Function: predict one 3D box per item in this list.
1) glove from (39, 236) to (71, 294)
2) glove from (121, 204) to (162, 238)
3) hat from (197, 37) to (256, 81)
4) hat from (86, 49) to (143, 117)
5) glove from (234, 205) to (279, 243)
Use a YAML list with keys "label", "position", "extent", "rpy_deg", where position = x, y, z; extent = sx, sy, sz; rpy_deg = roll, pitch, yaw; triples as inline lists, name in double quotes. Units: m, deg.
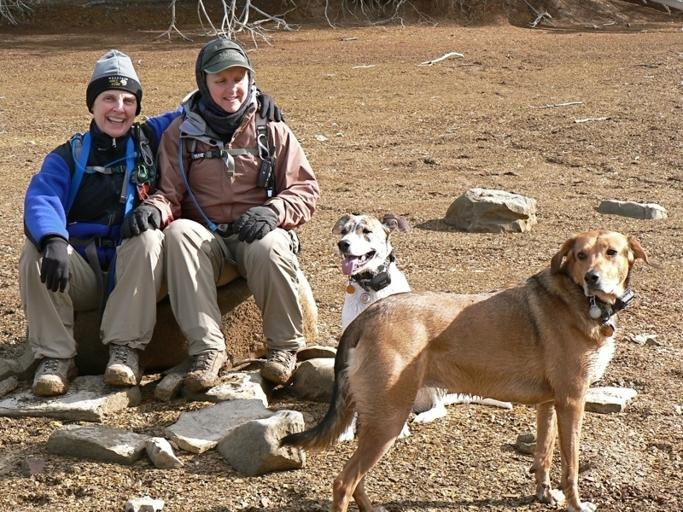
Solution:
- label: "glove"
  position: [-2.627, 0.063, 9.304]
  extent: [0.358, 0.457, 0.140]
  rpy_deg: [1, -3, 0]
- label: "glove"
  position: [-1.869, -0.333, 9.637]
  extent: [0.291, 0.285, 0.376]
  rpy_deg: [7, 16, 24]
- label: "hat"
  position: [-1.165, -1.998, 10.106]
  extent: [0.526, 0.360, 0.701]
  rpy_deg: [-12, 10, -28]
- label: "hat"
  position: [-2.217, -1.719, 10.046]
  extent: [0.523, 0.587, 0.633]
  rpy_deg: [-5, 0, 0]
- label: "glove"
  position: [-0.798, -0.314, 9.719]
  extent: [0.303, 0.117, 0.396]
  rpy_deg: [30, 43, 33]
